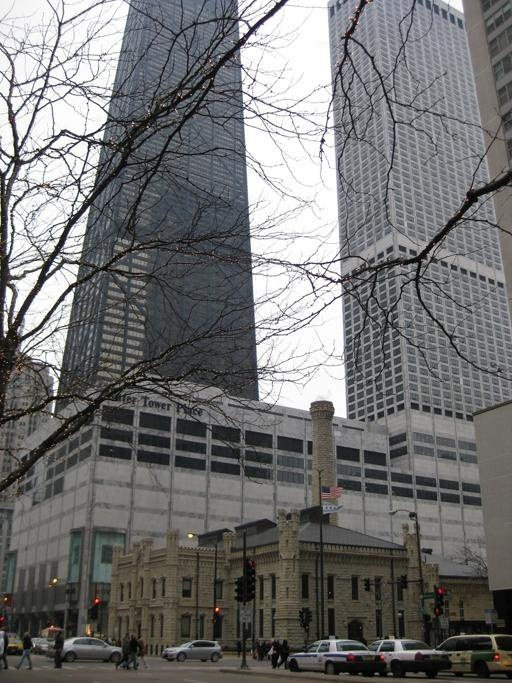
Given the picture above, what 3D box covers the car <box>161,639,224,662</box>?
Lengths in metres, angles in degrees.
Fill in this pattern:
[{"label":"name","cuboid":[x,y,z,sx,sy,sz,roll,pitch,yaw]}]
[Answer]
[{"label":"car","cuboid":[-4.212,20.796,44.514,1.165,1.336,4.429,-19,-29,38]}]
